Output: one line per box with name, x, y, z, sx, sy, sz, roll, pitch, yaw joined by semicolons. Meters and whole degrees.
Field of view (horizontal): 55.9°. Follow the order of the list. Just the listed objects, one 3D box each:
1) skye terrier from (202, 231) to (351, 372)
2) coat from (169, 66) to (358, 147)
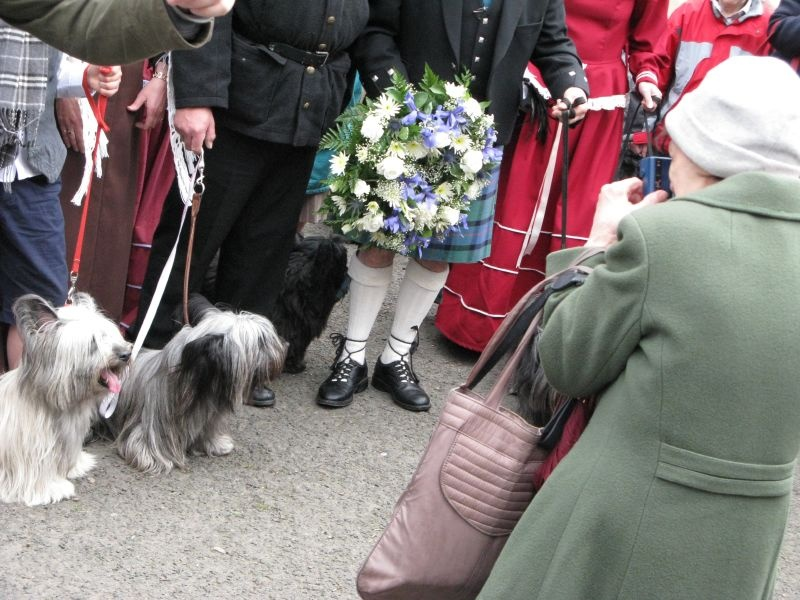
skye terrier;-0.602;0.017;3.762;0.750;0.606;0.402;5;-7;-19
coat;-0.538;-0.810;3.077;0.364;0.292;0.482;5;4;26
